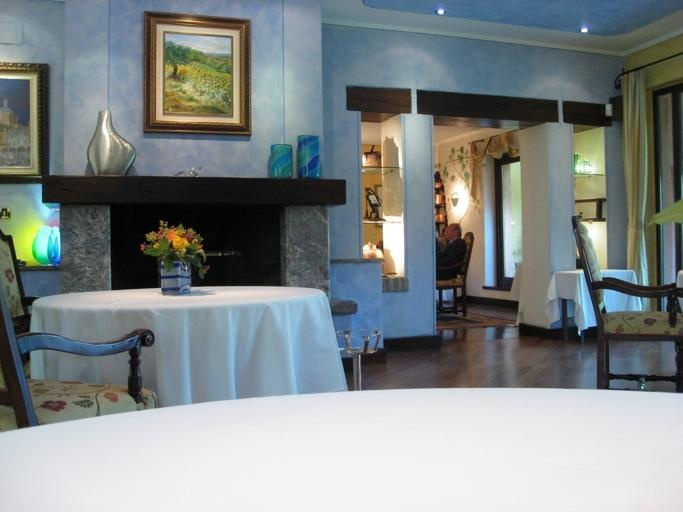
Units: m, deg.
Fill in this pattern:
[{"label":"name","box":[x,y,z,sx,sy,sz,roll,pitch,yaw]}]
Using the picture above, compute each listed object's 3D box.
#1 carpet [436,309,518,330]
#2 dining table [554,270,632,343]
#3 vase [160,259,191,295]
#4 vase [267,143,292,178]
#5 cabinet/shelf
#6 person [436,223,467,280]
[{"label":"carpet","box":[1.520,0.723,6.620,0.846,0.038,1.568,-2,0,13]},{"label":"dining table","box":[2.154,0.294,5.181,0.763,0.553,0.550,-1,0,-35]},{"label":"vase","box":[-0.685,0.079,2.448,0.127,0.168,0.127,3,5,31]},{"label":"vase","box":[-0.402,-0.630,3.919,0.189,0.229,0.195,6,7,43]},{"label":"cabinet/shelf","box":[0.327,-0.504,5.085,0.346,1.159,0.537,-1,-1,-7]},{"label":"person","box":[1.432,-0.080,7.558,0.360,0.627,1.270,-2,0,12]}]
